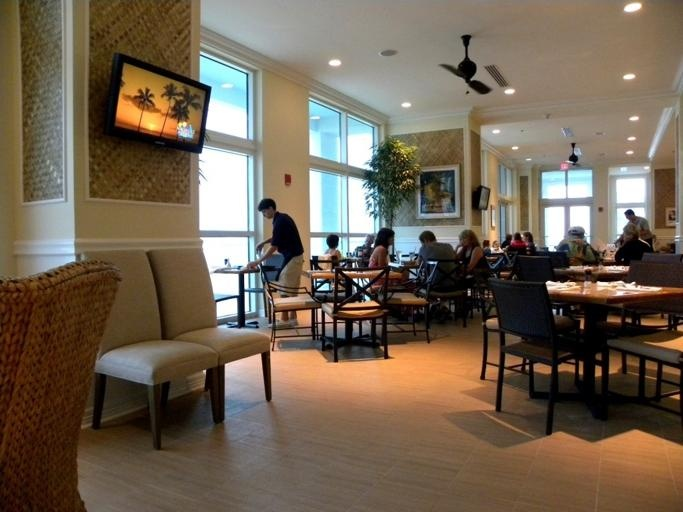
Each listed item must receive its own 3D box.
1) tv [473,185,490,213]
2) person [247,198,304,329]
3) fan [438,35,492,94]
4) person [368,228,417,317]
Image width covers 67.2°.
[{"bbox_3d":[2.859,-1.196,10.584,0.180,0.464,0.784,3,5,28],"label":"tv"},{"bbox_3d":[-0.847,0.095,6.446,0.812,1.594,0.713,-3,1,-18],"label":"person"},{"bbox_3d":[1.677,-2.563,6.651,0.537,0.631,0.818,-22,45,-7],"label":"fan"},{"bbox_3d":[0.594,-0.046,6.154,0.488,1.441,0.480,-5,8,-28],"label":"person"}]
